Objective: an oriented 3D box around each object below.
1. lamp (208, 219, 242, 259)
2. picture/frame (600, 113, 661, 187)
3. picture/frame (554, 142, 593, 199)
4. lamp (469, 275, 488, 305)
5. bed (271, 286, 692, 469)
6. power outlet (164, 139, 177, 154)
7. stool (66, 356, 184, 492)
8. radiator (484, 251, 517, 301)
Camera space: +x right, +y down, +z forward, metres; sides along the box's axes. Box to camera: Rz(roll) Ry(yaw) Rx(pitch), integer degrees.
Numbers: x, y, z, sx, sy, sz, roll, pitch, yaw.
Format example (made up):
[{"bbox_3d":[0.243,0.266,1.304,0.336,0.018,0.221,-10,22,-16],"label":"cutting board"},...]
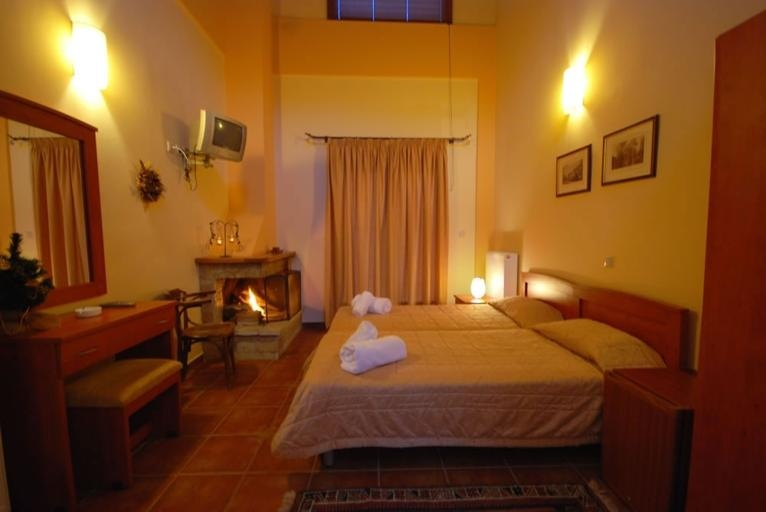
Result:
[{"bbox_3d":[-1.826,-0.185,6.645,0.419,0.445,0.154,-2,4,-40],"label":"lamp"},{"bbox_3d":[2.053,-0.877,4.778,0.062,0.642,0.642,1,0,-25],"label":"picture/frame"},{"bbox_3d":[1.762,-0.790,5.346,0.052,0.529,0.543,1,1,-16],"label":"picture/frame"},{"bbox_3d":[1.099,0.396,6.711,0.234,0.287,0.241,4,15,20],"label":"lamp"},{"bbox_3d":[0.669,0.963,4.749,2.028,0.813,1.669,1,7,4],"label":"bed"},{"bbox_3d":[-2.118,-1.090,5.785,0.032,0.119,0.125,-1,5,11],"label":"power outlet"},{"bbox_3d":[-2.061,1.210,4.817,0.738,0.957,1.095,0,3,4],"label":"stool"},{"bbox_3d":[1.298,0.218,6.351,0.154,0.501,0.489,-1,6,-6],"label":"radiator"}]
